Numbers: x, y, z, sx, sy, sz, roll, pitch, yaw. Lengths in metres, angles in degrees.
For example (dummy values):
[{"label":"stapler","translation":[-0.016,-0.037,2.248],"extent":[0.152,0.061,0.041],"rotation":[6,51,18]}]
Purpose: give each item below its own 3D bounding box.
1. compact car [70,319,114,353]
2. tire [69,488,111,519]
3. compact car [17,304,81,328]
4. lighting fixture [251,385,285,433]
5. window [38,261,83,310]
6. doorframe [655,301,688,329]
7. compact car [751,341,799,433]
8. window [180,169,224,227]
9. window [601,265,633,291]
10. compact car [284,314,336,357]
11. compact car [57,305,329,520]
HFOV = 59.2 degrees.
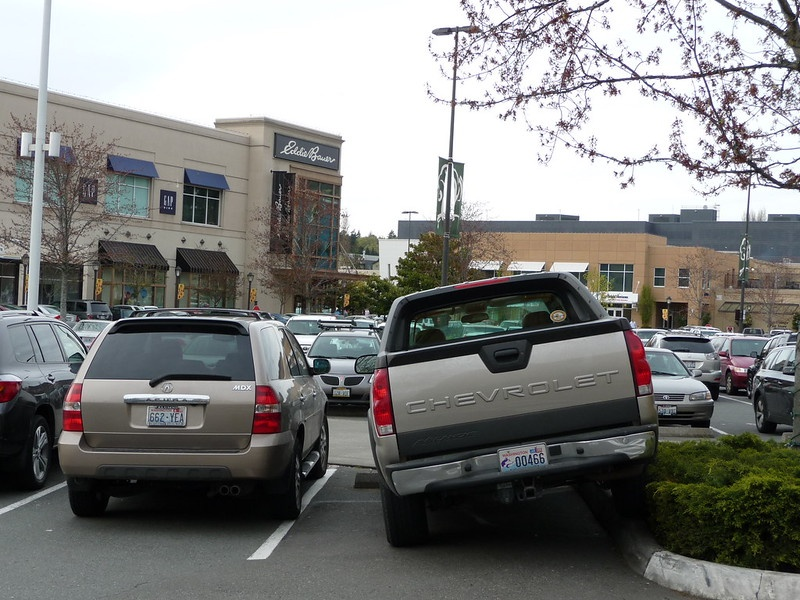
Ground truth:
[{"label":"compact car","translation":[-6.675,0.718,15.101],"extent":[0.805,0.610,1.802],"rotation":[-1,-3,-2]},{"label":"tire","translation":[-3.310,2.137,7.451],"extent":[0.149,0.391,0.373],"rotation":[1,6,6]},{"label":"compact car","translation":[-10.643,0.438,21.511],"extent":[1.788,0.654,0.790],"rotation":[5,2,13]},{"label":"lighting fixture","translation":[-1.378,0.997,7.218],"extent":[0.316,0.580,0.405],"rotation":[6,29,2]},{"label":"window","translation":[-20.101,-0.837,41.232],"extent":[2.859,3.092,0.114],"rotation":[-1,6,-39]},{"label":"doorframe","translation":[30.481,1.573,79.042],"extent":[2.785,2.937,1.526],"rotation":[-1,2,-2]},{"label":"compact car","translation":[8.188,1.985,15.483],"extent":[0.740,1.963,2.698],"rotation":[0,-3,25]},{"label":"window","translation":[-15.795,-8.083,55.118],"extent":[0.625,4.075,4.491],"rotation":[1,-2,27]},{"label":"window","translation":[25.691,-2.639,83.723],"extent":[2.882,3.149,0.204],"rotation":[-4,-2,7]},{"label":"compact car","translation":[-3.457,1.117,24.501],"extent":[1.068,1.075,2.009],"rotation":[-1,-4,1]},{"label":"compact car","translation":[-2.092,1.071,8.227],"extent":[1.603,1.337,3.023],"rotation":[0,1,2]}]
